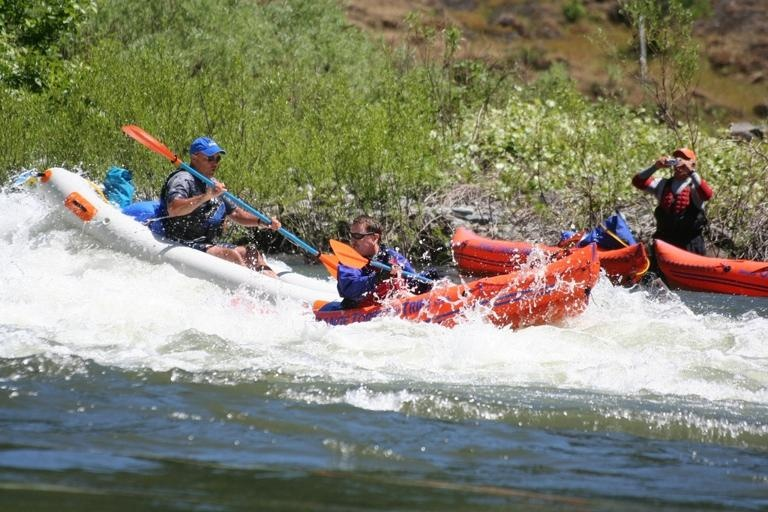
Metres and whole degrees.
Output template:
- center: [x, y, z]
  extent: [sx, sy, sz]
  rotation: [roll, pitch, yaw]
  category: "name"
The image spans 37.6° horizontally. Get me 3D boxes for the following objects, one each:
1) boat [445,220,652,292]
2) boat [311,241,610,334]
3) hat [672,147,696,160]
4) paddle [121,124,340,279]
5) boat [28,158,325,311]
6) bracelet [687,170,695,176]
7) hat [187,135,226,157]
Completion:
- center: [2.394, 0.015, 17.258]
  extent: [2.573, 0.761, 1.142]
  rotation: [6, 7, 29]
  category: "boat"
- center: [1.182, 0.504, 15.236]
  extent: [3.948, 1.042, 1.238]
  rotation: [-7, 0, 11]
  category: "boat"
- center: [4.553, -1.557, 17.140]
  extent: [0.312, 0.181, 0.421]
  rotation: [3, 17, 11]
  category: "hat"
- center: [-2.347, -0.851, 17.154]
  extent: [4.164, 0.321, 0.622]
  rotation: [29, -31, -6]
  category: "paddle"
- center: [-2.380, -0.238, 15.957]
  extent: [5.281, 0.889, 1.584]
  rotation: [19, -8, 9]
  category: "boat"
- center: [4.622, -1.253, 16.986]
  extent: [0.081, 0.056, 0.080]
  rotation: [0, 4, 30]
  category: "bracelet"
- center: [-2.464, -1.544, 15.798]
  extent: [0.428, 0.194, 0.301]
  rotation: [0, 4, 8]
  category: "hat"
